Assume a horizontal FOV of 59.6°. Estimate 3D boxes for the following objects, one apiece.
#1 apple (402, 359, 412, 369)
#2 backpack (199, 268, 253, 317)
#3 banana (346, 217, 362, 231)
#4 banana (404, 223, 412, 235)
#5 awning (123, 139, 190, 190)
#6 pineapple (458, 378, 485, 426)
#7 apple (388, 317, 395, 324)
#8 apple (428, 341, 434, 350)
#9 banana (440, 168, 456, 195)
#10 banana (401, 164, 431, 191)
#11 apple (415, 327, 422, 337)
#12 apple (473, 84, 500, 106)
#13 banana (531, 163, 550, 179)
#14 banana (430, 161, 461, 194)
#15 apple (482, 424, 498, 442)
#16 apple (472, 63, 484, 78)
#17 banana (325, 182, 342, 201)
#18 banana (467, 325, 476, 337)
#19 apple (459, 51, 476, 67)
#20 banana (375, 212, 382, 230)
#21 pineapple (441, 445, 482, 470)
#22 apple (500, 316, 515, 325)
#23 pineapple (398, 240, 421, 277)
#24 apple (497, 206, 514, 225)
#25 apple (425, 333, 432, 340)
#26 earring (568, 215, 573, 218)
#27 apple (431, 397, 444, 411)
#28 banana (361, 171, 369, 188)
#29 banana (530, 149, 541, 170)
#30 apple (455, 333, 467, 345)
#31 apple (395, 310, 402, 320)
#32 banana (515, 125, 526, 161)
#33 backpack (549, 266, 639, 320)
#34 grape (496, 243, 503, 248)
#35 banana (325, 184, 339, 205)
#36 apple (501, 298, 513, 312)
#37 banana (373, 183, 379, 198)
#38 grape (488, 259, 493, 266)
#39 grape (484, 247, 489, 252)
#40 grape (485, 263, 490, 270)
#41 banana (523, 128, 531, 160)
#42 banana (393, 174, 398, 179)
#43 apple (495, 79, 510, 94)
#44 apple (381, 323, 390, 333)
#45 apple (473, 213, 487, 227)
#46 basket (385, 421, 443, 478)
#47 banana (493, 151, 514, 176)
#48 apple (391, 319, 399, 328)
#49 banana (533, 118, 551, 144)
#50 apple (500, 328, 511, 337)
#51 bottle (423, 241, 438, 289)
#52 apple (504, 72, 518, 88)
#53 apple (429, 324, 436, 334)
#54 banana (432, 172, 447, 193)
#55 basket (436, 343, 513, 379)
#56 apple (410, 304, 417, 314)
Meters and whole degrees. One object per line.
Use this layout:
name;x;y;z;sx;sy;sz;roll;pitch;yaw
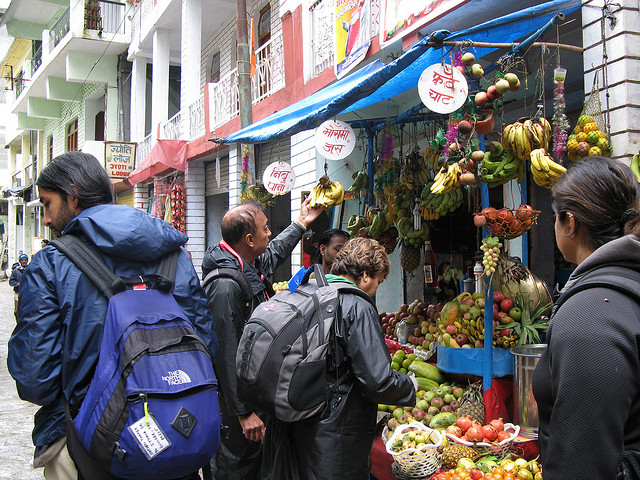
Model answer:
apple;0.818;1.165;5.268;0.062;0.074;0.084;0;-23;7
backpack;-0.662;0.355;4.013;0.353;0.429;0.291;4;1;-8
banana;0.412;-0.187;6.503;0.134;0.131;0.043;43;11;-30
banana;0.934;-0.105;5.938;0.063;0.097;0.025;10;-9;46
awning;-3.655;-1.649;13.265;0.880;0.693;2.164;-10;-7;-19
pineapple;1.238;1.313;4.529;0.289;0.326;0.247;3;-10;-12
apple;0.813;0.920;6.354;0.058;0.067;0.059;-8;-10;44
apple;1.052;0.997;5.280;0.053;0.076;0.049;0;-9;6
banana;0.980;-0.389;4.186;0.047;0.262;0.082;17;2;-17
banana;1.007;-0.648;5.900;0.216;0.265;0.080;-6;4;15
apple;0.988;0.924;5.677;0.070;0.083;0.079;-7;29;-25
apple;1.224;-1.046;4.120;0.185;0.103;0.098;-33;24;-2
banana;1.589;-0.461;4.017;0.048;0.081;0.218;-19;-46;40
banana;0.941;-0.454;4.254;0.083;0.179;0.266;15;3;-13
apple;1.279;1.437;4.201;0.091;0.060;0.085;27;29;10
apple;1.189;-1.263;4.240;0.074;0.094;0.103;-14;41;-12
banana;0.127;-0.451;5.355;0.083;0.167;0.046;37;-60;-24
banana;1.289;0.771;4.746;0.030;0.097;0.026;-20;-13;37
apple;1.109;-1.338;4.171;0.111;0.092;0.090;51;-8;-31
banana;0.642;-0.198;6.125;0.050;0.180;0.044;7;-4;-19
pineapple;1.025;1.534;4.064;0.248;0.139;0.151;-3;3;-16
apple;1.535;0.664;4.592;0.110;0.065;0.046;-5;-11;28
pineapple;1.002;0.181;6.167;0.199;0.310;0.249;0;-10;7
apple;1.411;-0.171;4.199;0.155;0.125;0.075;6;-11;-28
apple;1.046;0.921;5.389;0.044;0.059;0.045;31;19;9
earring;1.096;-0.100;2.445;0.008;0.009;0.021;7;-12;-32
apple;0.997;1.377;4.733;0.087;0.097;0.086;6;5;-42
banana;0.562;-0.750;7.039;0.082;0.230;0.232;1;-10;1
banana;1.547;-0.570;4.009;0.064;0.158;0.051;-3;-10;25
apple;1.208;0.849;4.788;0.068;0.075;0.072;8;21;36
apple;0.892;0.846;6.314;0.073;0.074;0.072;2;-33;48
banana;1.475;-0.702;4.115;0.048;0.194;0.138;-2;23;20
backpack;1.207;0.235;2.420;0.260;0.285;0.189;5;1;24
grape;1.390;0.051;4.328;0.026;0.028;0.037;17;-55;-33
banana;0.106;-0.419;5.314;0.112;0.181;0.042;-9;-12;16
apple;1.558;0.546;4.646;0.080;0.088;0.083;1;16;37
banana;0.676;-0.570;6.724;0.068;0.187;0.282;0;-10;6
grape;1.318;0.182;4.311;0.028;0.041;0.021;-2;-10;19
grape;1.284;0.079;4.300;0.030;0.030;0.029;4;-40;-11
grape;1.295;0.210;4.321;0.027;0.043;0.024;7;-3;1
banana;1.513;-0.701;4.122;0.062;0.220;0.047;-3;-10;-27
banana;0.848;-0.691;6.243;0.042;0.050;0.023;0;-9;4
apple;1.309;-1.083;4.041;0.083;0.085;0.083;-2;-46;-22
apple;0.737;0.972;6.244;0.078;0.110;0.079;14;21;43
apple;1.200;-0.140;4.233;0.078;0.113;0.086;-8;-1;-7
basket;0.650;1.528;4.072;0.279;0.225;0.292;-13;14;-39
banana;1.392;-0.565;4.223;0.037;0.173;0.059;29;-5;29
apple;0.842;0.930;6.231;0.064;0.077;0.071;8;21;13
banana;1.652;-0.803;4.139;0.089;0.154;0.039;-38;27;-11
apple;1.504;0.754;4.531;0.073;0.049;0.042;-13;-7;14
bottle;1.213;0.270;6.114;0.139;0.470;0.415;-1;-10;12
apple;1.390;-1.146;4.067;0.086;0.116;0.089;22;37;29
apple;1.074;0.862;5.394;0.056;0.078;0.060;11;19;-23
banana;0.894;-0.414;4.182;0.030;0.159;0.052;29;-2;7
basket;1.346;1.036;4.855;0.490;0.243;0.642;-1;-5;-34
apple;1.002;0.747;6.033;0.070;0.101;0.075;15;-20;-35
